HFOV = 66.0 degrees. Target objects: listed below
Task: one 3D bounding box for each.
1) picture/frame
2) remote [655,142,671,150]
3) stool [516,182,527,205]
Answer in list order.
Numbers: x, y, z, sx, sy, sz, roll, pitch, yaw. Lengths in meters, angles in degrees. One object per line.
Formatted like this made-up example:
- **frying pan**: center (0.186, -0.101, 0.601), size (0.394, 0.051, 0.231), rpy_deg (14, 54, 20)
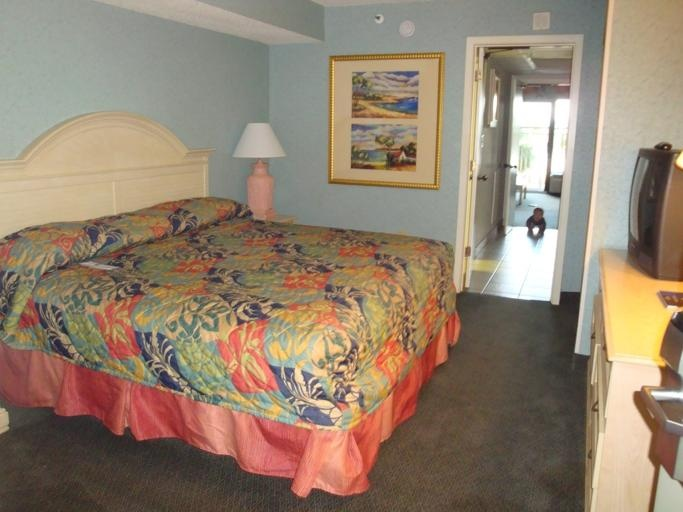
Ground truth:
- **picture/frame**: center (0.524, -1.481, 5.573), size (1.340, 1.503, 0.069), rpy_deg (4, 11, 24)
- **remote**: center (2.017, -0.684, 3.264), size (0.102, 0.032, 0.100), rpy_deg (-23, 28, -34)
- **stool**: center (3.921, -1.349, 11.373), size (0.171, 0.282, 0.562), rpy_deg (2, 18, 13)
